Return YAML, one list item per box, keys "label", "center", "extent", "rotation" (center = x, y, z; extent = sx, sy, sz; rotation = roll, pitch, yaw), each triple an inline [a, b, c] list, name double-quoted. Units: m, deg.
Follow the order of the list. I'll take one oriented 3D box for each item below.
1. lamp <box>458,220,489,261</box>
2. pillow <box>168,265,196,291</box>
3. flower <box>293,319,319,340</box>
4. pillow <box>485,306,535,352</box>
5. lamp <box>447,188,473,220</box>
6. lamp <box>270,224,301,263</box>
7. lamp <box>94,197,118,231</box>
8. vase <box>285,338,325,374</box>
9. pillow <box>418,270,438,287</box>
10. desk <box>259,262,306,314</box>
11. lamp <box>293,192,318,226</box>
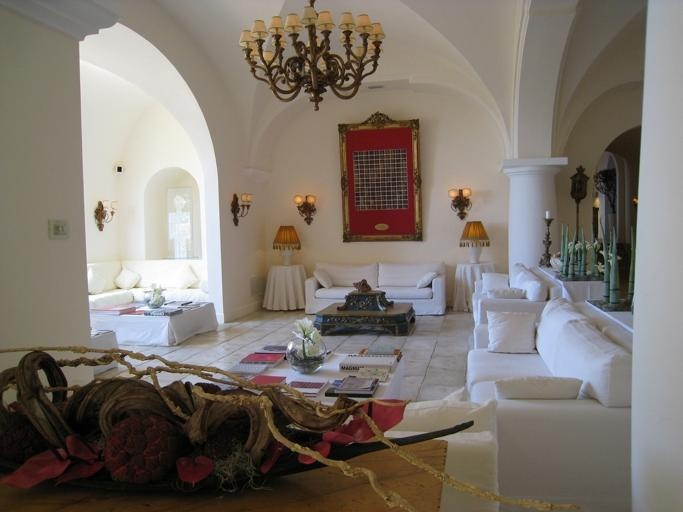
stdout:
- label: "lamp"
  center: [2.422, -0.243, 8.513]
  extent: [0.655, 0.784, 0.654]
  rotation: [-2, 1, -29]
- label: "pillow"
  center: [-3.204, 0.404, 9.097]
  extent: [0.519, 0.469, 0.380]
  rotation: [9, 6, 39]
- label: "flower"
  center: [-0.317, 0.638, 3.935]
  extent: [0.185, 0.195, 0.168]
  rotation: [-2, -8, 22]
- label: "pillow"
  center: [1.492, 0.684, 4.156]
  extent: [0.538, 0.498, 0.299]
  rotation: [-2, -32, 17]
- label: "lamp"
  center: [2.307, -1.003, 8.705]
  extent: [0.567, 0.813, 0.242]
  rotation: [-2, 4, 15]
- label: "lamp"
  center: [-1.119, -0.230, 9.117]
  extent: [0.667, 0.909, 0.694]
  rotation: [0, -2, 4]
- label: "lamp"
  center: [-4.942, -0.840, 9.387]
  extent: [0.143, 0.505, 0.494]
  rotation: [1, -1, 11]
- label: "vase"
  center: [-0.323, 0.823, 3.914]
  extent: [0.290, 0.289, 0.293]
  rotation: [-2, -2, 39]
- label: "pillow"
  center: [1.576, 0.437, 8.255]
  extent: [0.342, 0.302, 0.365]
  rotation: [6, 5, 14]
- label: "desk"
  center: [-1.147, 0.649, 9.041]
  extent: [0.808, 0.930, 0.457]
  rotation: [4, 5, -9]
- label: "lamp"
  center: [-0.750, -0.978, 9.442]
  extent: [0.640, 0.879, 0.266]
  rotation: [-3, 2, -1]
